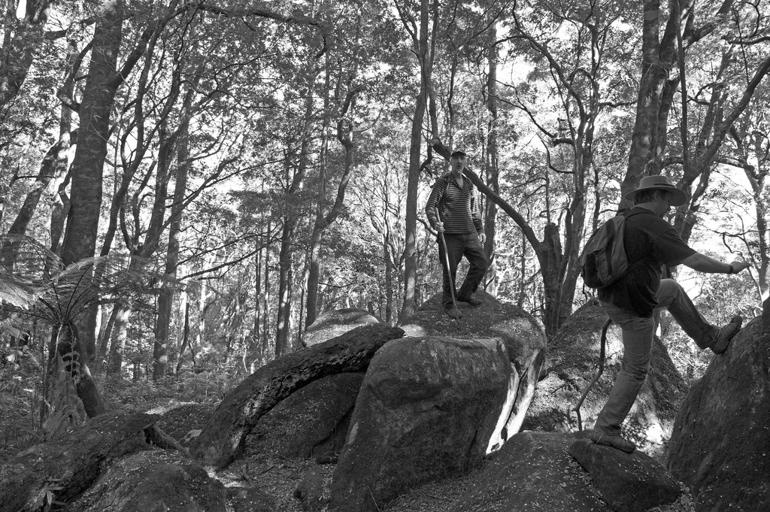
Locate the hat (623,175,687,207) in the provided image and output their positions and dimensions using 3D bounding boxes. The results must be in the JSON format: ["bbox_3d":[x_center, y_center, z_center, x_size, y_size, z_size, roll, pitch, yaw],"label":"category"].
[{"bbox_3d":[3.910,-0.940,9.387,0.601,0.254,0.534,9,-19,1],"label":"hat"}]

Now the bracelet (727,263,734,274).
[{"bbox_3d":[4.719,0.155,8.974,0.063,0.125,0.164,1,-8,33],"label":"bracelet"}]

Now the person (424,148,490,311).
[{"bbox_3d":[1.472,-0.452,13.622,1.470,3.389,0.719,8,-7,-30],"label":"person"}]
